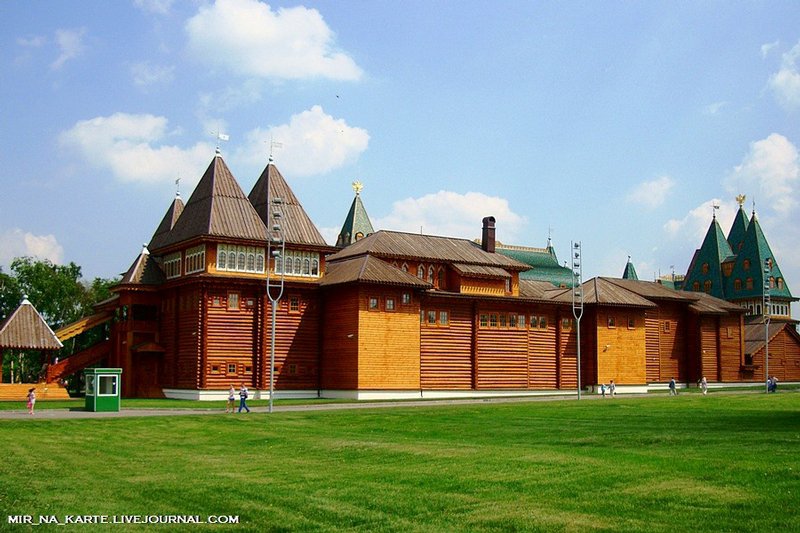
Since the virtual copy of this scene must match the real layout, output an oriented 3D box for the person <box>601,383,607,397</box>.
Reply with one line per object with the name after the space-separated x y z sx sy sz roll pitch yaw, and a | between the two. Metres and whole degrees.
17.158 10.364 80.771 0.385 0.842 0.248 12 -19 -1 | person
